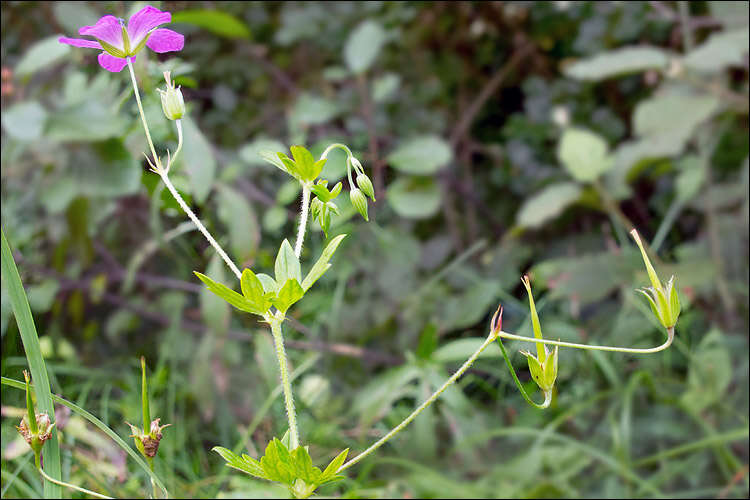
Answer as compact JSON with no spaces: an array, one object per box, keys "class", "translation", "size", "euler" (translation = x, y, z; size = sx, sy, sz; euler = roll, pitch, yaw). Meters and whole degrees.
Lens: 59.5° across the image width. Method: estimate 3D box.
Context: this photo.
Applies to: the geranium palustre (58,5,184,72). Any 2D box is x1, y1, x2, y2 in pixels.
[{"class":"geranium palustre","translation":[-0.277,-0.249,0.764],"size":[0.094,0.038,0.096],"euler":[-7,17,3]}]
